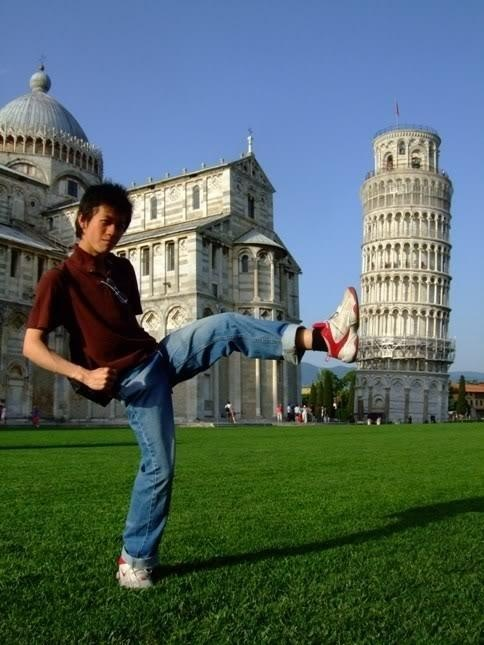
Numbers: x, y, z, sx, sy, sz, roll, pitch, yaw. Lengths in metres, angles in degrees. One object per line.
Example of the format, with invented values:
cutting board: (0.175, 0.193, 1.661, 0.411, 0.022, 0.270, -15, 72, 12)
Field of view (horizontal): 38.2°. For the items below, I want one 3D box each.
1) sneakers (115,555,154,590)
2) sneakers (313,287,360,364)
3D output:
sneakers: (-0.610, 1.393, 3.861, 0.252, 0.096, 0.094, -8, -17, 43)
sneakers: (0.638, 0.061, 4.548, 0.293, 0.496, 0.179, 5, -6, -9)
